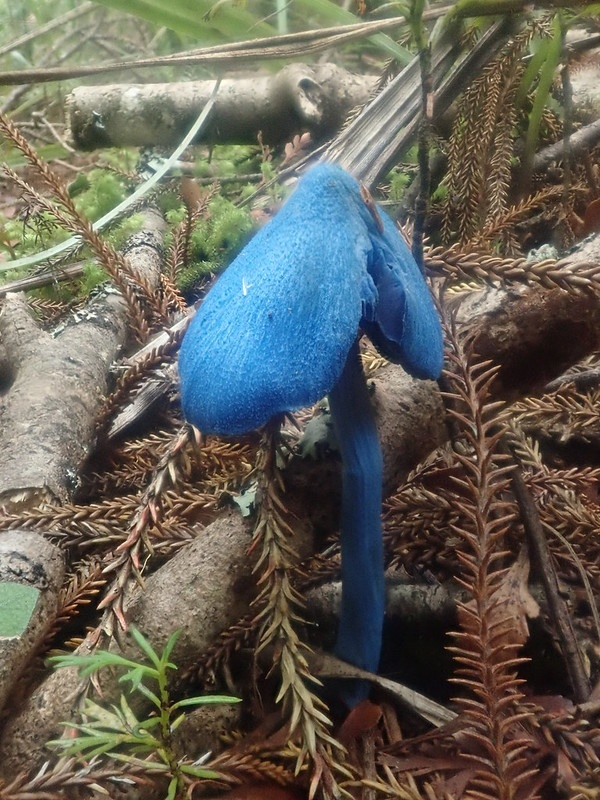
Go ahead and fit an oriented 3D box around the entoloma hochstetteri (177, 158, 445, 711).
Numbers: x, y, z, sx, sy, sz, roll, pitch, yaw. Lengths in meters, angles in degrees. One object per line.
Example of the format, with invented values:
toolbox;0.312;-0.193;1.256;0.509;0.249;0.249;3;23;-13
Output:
entoloma hochstetteri;0.040;0.064;1.286;0.199;0.774;0.378;15;36;38
